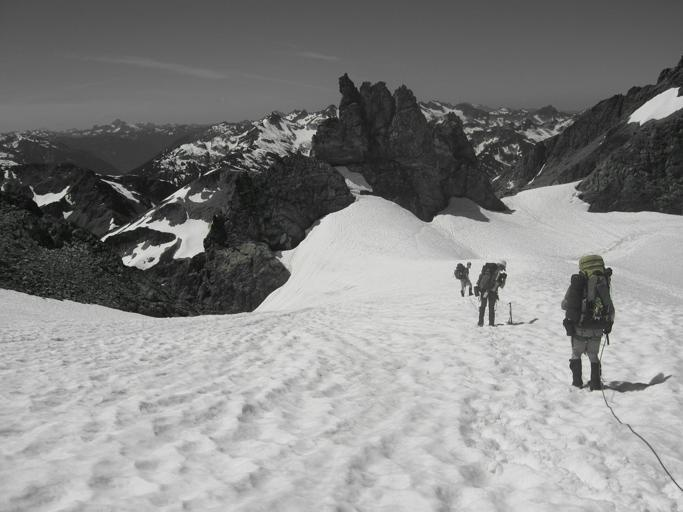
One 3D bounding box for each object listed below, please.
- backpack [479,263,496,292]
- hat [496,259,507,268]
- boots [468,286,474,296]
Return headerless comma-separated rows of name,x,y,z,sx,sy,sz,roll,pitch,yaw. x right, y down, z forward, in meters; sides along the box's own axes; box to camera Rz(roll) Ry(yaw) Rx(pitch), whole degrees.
backpack,5.565,0.845,22.064,0.365,0.989,0.707,14,-2,-25
hat,7.337,0.324,26.442,0.430,0.382,0.337,29,8,30
boots,6.082,1.647,27.041,0.234,0.491,0.710,0,0,16
